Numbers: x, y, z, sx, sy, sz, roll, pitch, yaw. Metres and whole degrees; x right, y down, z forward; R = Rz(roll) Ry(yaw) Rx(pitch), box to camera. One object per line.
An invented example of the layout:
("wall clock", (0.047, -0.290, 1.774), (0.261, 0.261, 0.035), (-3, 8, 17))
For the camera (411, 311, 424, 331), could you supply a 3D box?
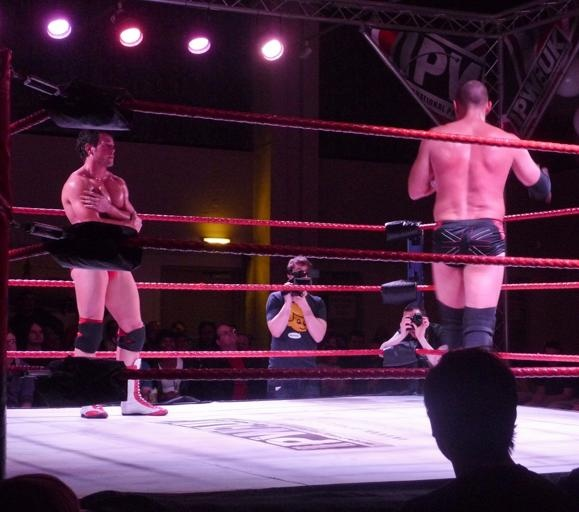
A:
("camera", (0.683, 0.340, 3.943), (0.078, 0.058, 0.032), (2, 3, 34))
